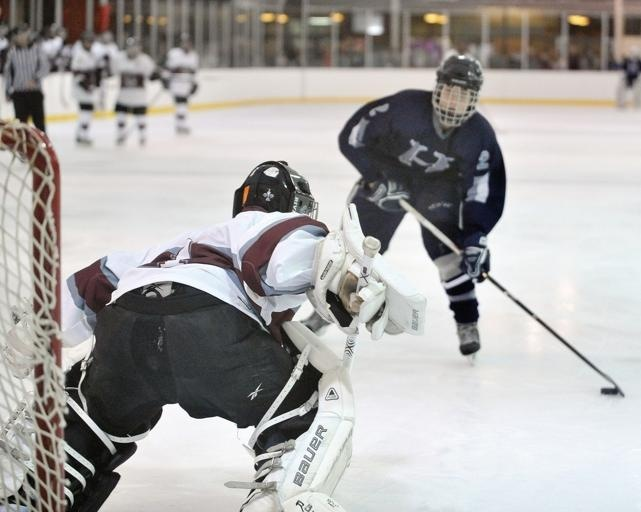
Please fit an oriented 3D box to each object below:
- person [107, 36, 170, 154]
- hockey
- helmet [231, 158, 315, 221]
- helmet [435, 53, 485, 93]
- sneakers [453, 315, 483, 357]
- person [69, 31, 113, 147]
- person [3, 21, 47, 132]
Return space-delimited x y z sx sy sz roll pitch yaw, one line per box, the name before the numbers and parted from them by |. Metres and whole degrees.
person | -1.951 -1.765 8.704 0.494 1.157 1.831 -3 11 -11
hockey | 0.750 0.180 3.214 0.059 0.199 1.058 -42 69 -14
helmet | -0.112 -0.169 2.020 0.180 0.158 0.140 -2 13 -6
helmet | 0.474 -0.635 2.842 0.153 0.171 0.174 5 27 6
sneakers | 0.539 0.292 2.895 0.072 0.109 0.115 -10 -1 -16
person | -2.442 -1.833 8.818 0.405 1.205 1.424 -4 11 -15
person | -2.704 -1.653 7.566 0.389 0.946 0.319 -4 12 -19
